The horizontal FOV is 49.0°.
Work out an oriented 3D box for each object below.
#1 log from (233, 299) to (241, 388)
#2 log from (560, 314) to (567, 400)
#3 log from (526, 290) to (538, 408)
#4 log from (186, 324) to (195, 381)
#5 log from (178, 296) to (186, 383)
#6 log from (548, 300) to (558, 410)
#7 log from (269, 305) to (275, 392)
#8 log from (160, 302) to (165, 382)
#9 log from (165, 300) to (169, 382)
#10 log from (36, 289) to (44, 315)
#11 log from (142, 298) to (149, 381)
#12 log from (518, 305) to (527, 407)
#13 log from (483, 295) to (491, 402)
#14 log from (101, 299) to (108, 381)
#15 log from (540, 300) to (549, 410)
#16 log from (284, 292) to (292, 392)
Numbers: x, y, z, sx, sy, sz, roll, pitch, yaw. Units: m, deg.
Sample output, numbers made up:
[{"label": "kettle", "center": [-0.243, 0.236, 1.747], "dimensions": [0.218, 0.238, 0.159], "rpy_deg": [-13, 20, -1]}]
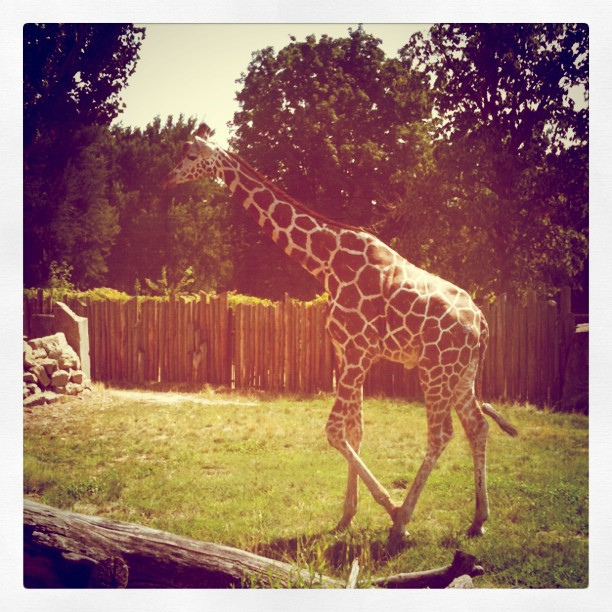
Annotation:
[{"label": "log", "center": [-0.962, 0.574, 9.567], "dimensions": [0.126, 1.656, 0.172], "rpy_deg": [-1, -46, -4]}, {"label": "log", "center": [3.111, 0.604, 8.094], "dimensions": [0.075, 0.996, 0.222], "rpy_deg": [1, -4, 22]}, {"label": "log", "center": [2.778, 0.503, 8.213], "dimensions": [0.140, 1.379, 0.218], "rpy_deg": [2, -3, 17]}, {"label": "log", "center": [-1.664, 0.638, 9.655], "dimensions": [0.087, 0.881, 0.093], "rpy_deg": [-4, -35, -4]}, {"label": "log", "center": [-1.778, 0.505, 9.673], "dimensions": [0.088, 1.410, 0.112], "rpy_deg": [-4, 28, -17]}, {"label": "log", "center": [2.992, 0.576, 8.116], "dimensions": [0.123, 1.281, 0.246], "rpy_deg": [2, -3, 17]}, {"label": "log", "center": [-0.466, 0.608, 9.368], "dimensions": [0.101, 1.558, 0.122], "rpy_deg": [-9, 35, -15]}, {"label": "log", "center": [-2.076, 0.521, 9.762], "dimensions": [0.085, 1.483, 0.116], "rpy_deg": [-8, -40, -3]}, {"label": "log", "center": [-2.009, 0.514, 9.713], "dimensions": [0.071, 1.236, 0.087], "rpy_deg": [5, 16, 9]}, {"label": "log", "center": [-3.453, -0.051, 8.725], "dimensions": [0.100, 0.203, 0.236], "rpy_deg": [5, -4, -21]}, {"label": "log", "center": [-2.306, 0.507, 9.725], "dimensions": [0.077, 1.291, 0.098], "rpy_deg": [-6, -21, 1]}, {"label": "log", "center": [2.672, 0.593, 8.225], "dimensions": [0.097, 1.206, 0.206], "rpy_deg": [2, -3, 18]}, {"label": "log", "center": [2.301, 0.554, 8.496], "dimensions": [0.089, 1.729, 0.116], "rpy_deg": [9, -40, 5]}, {"label": "log", "center": [-2.958, 0.514, 9.829], "dimensions": [0.082, 1.462, 0.097], "rpy_deg": [12, -43, -30]}, {"label": "log", "center": [2.958, 0.472, 8.287], "dimensions": [0.092, 1.330, 0.103], "rpy_deg": [19, 43, 41]}, {"label": "log", "center": [-0.247, 0.520, 9.267], "dimensions": [0.115, 1.586, 0.142], "rpy_deg": [10, 27, 21]}]
